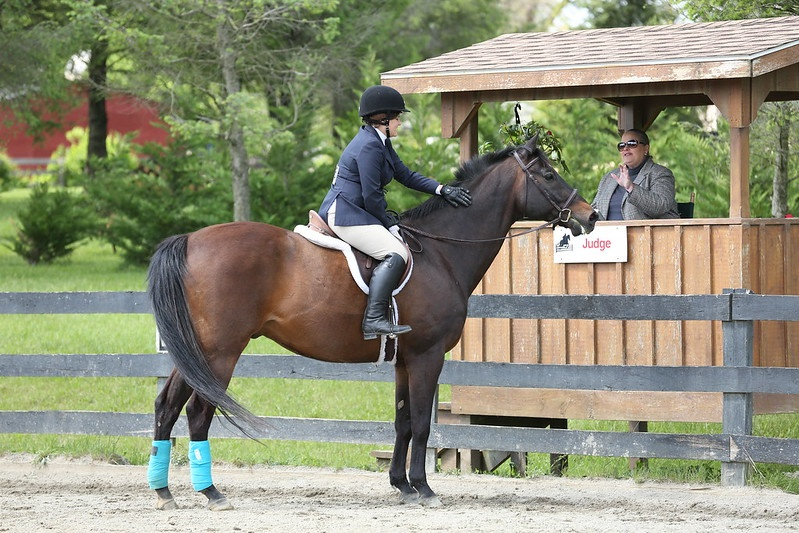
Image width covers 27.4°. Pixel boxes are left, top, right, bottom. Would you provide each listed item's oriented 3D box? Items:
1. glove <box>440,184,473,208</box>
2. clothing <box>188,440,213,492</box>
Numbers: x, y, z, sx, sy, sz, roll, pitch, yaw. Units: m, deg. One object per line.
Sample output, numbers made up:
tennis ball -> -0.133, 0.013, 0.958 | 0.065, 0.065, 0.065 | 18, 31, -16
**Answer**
glove -> 0.807, -1.016, 23.366 | 0.427, 0.254, 0.125 | 31, -11, 7
clothing -> -2.799, 2.824, 23.057 | 0.310, 0.801, 0.309 | -1, 12, -9
